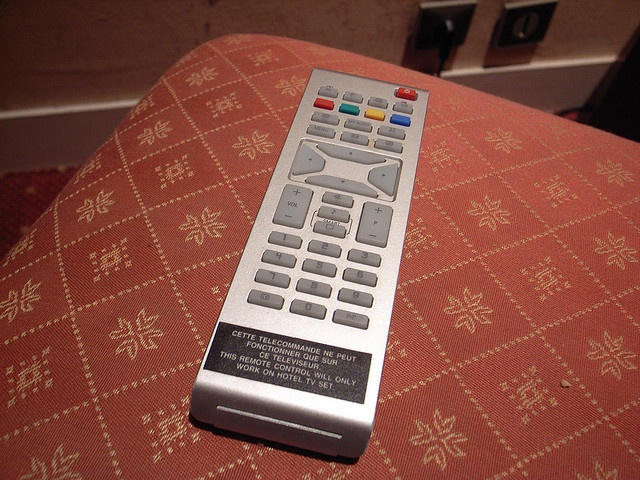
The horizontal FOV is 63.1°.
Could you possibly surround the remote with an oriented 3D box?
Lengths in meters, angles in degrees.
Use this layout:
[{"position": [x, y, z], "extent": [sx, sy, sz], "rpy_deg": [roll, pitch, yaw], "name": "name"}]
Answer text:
[{"position": [-0.003, 0.017, 0.486], "extent": [0.119, 0.057, 0.382], "rpy_deg": [15, 30, 0], "name": "remote"}]
